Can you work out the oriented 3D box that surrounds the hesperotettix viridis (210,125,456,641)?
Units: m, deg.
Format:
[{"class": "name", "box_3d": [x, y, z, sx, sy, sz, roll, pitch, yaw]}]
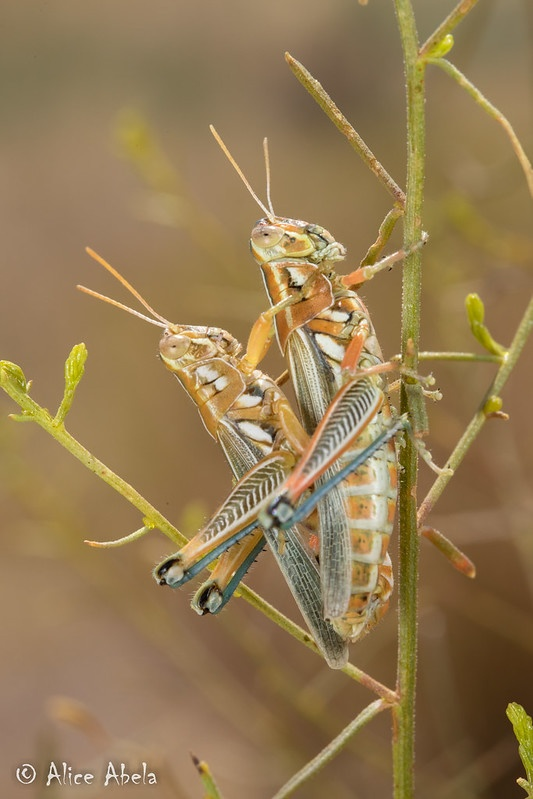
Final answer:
[{"class": "hesperotettix viridis", "box_3d": [0.080, -0.012, 1.285, 0.320, 0.664, 0.321, -5, -1, 12]}]
